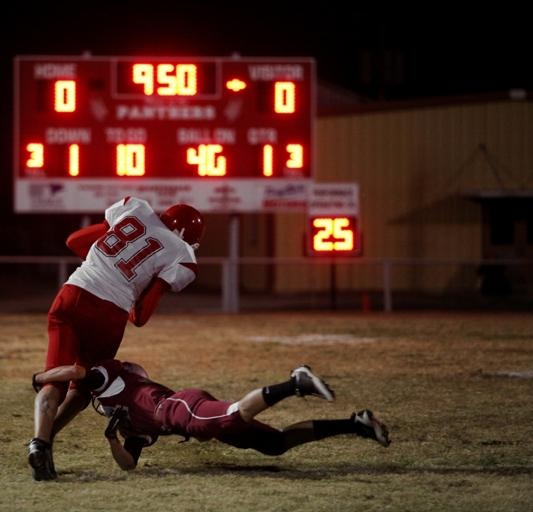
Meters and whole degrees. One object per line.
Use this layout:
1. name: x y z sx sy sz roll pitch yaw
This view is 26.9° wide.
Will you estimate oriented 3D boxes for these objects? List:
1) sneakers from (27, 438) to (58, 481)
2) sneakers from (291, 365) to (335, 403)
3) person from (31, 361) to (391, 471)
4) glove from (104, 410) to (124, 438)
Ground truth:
1. sneakers: -1.458 1.325 7.280 0.139 0.293 0.151 -4 12 -10
2. sneakers: 0.302 0.819 7.234 0.262 0.232 0.260 -2 8 -2
3. person: -0.355 0.991 7.405 1.968 0.540 0.943 -12 -27 11
4. glove: -0.992 1.096 7.389 0.068 0.185 0.112 29 -22 6
